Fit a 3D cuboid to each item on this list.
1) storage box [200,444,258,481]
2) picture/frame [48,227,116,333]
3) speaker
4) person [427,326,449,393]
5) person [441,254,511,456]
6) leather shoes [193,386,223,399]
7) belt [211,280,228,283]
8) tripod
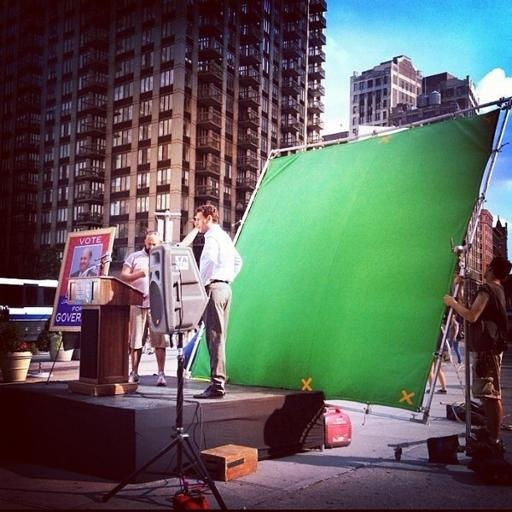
[{"bbox_3d":[-0.324,1.999,5.825,0.305,0.209,0.436,-7,-11,38],"label":"storage box"},{"bbox_3d":[-2.809,0.354,9.268,0.880,1.745,1.835,3,-5,-24],"label":"picture/frame"},{"bbox_3d":[-0.758,0.321,5.588,0.519,0.880,0.399,5,-6,-40],"label":"speaker"},{"bbox_3d":[2.330,1.302,7.308,0.223,0.835,0.215,11,-12,1],"label":"person"},{"bbox_3d":[2.598,1.049,6.410,0.747,2.148,0.475,3,-5,-16],"label":"person"},{"bbox_3d":[-0.538,1.549,6.550,0.345,0.159,0.134,4,-12,0],"label":"leather shoes"},{"bbox_3d":[-0.438,0.301,6.950,0.228,0.043,0.052,5,-6,-34],"label":"belt"},{"bbox_3d":[-0.959,1.528,5.420,1.305,1.945,1.226,-1,0,3],"label":"tripod"}]
